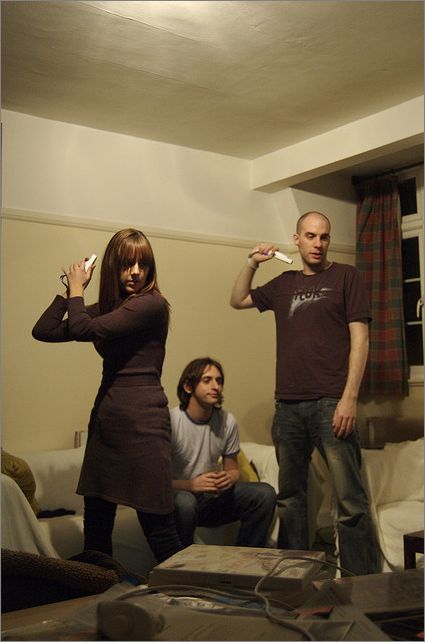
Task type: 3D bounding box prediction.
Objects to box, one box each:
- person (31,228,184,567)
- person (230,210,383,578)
[{"bbox_3d":[-0.303,0.181,1.480,0.401,0.835,0.383,-5,2,-5],"label":"person"},{"bbox_3d":[0.414,0.278,2.199,0.388,1.099,0.641,-6,2,-24],"label":"person"}]
